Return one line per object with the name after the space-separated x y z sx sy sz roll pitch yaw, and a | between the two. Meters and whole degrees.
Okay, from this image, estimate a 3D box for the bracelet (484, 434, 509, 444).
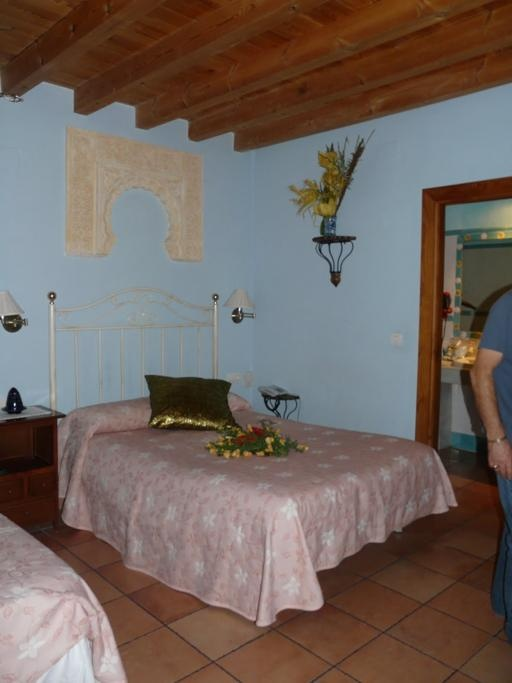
0.820 0.330 1.936 0.037 0.016 0.039 -2 2 -36 | bracelet

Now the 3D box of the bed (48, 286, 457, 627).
-0.144 0.246 3.074 1.517 1.286 1.987 -9 12 -42 | bed

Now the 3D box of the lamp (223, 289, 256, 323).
-0.132 -0.274 4.515 0.279 0.295 0.257 -1 -2 43 | lamp
